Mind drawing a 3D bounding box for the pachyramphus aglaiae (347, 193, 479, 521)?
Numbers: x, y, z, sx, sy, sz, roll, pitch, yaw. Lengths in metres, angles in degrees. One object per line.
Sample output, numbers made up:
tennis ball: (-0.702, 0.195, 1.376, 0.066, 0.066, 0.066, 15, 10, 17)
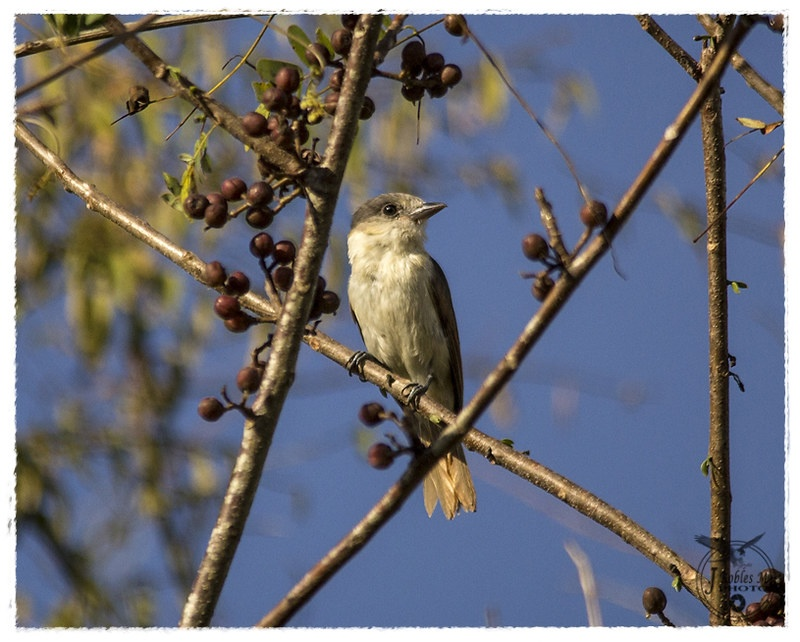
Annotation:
pachyramphus aglaiae: (0.127, 0.150, 10.196, 0.619, 1.829, 1.553, -3, -21, 22)

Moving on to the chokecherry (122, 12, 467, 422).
chokecherry: (-0.519, -0.093, 7.416, 1.080, 1.636, 2.712, 1, -83, 28)

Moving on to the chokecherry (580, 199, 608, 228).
chokecherry: (0.865, -0.463, 6.488, 0.122, 0.123, 0.098, 2, -56, 5)
